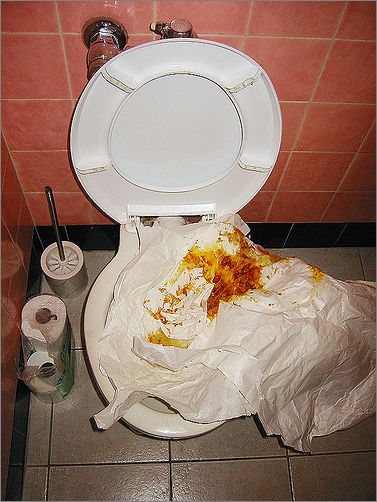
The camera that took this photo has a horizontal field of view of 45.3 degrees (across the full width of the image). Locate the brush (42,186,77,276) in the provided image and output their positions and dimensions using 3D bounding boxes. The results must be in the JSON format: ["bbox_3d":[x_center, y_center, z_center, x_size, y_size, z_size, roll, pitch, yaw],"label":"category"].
[{"bbox_3d":[-0.319,-0.049,1.096,0.082,0.216,0.082,-12,60,-12],"label":"brush"}]
